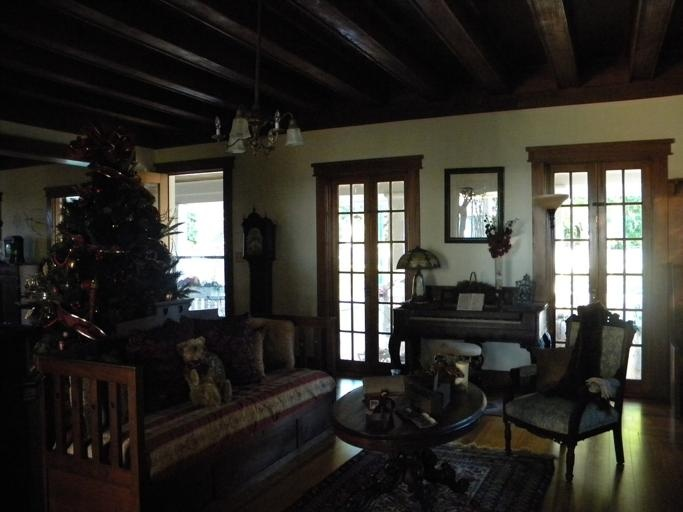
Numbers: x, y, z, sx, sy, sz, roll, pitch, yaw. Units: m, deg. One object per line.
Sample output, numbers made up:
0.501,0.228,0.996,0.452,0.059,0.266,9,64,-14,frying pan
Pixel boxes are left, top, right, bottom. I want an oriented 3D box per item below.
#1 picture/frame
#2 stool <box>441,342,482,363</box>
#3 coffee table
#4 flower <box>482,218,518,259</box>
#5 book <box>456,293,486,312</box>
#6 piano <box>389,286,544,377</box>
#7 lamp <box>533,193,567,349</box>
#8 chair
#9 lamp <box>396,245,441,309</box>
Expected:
1.460,-0.552,5.925,0.655,0.916,0.039,1,-13,11,picture/frame
1.172,0.906,5.078,0.467,0.129,0.340,1,3,-18,stool
0.413,1.114,3.456,0.892,0.549,0.914,-3,4,-16,coffee table
1.699,-0.182,5.716,0.343,0.421,0.313,1,6,16,flower
1.358,0.485,5.581,0.209,0.205,0.051,2,-27,25,book
1.409,0.848,5.793,1.512,1.050,0.941,1,-5,24,piano
2.224,0.194,5.677,0.334,1.643,0.349,-3,-14,43,lamp
1.804,1.031,4.256,0.795,1.263,0.734,-2,1,-30,chair
0.830,0.228,6.006,0.534,0.650,0.554,0,-4,5,lamp
